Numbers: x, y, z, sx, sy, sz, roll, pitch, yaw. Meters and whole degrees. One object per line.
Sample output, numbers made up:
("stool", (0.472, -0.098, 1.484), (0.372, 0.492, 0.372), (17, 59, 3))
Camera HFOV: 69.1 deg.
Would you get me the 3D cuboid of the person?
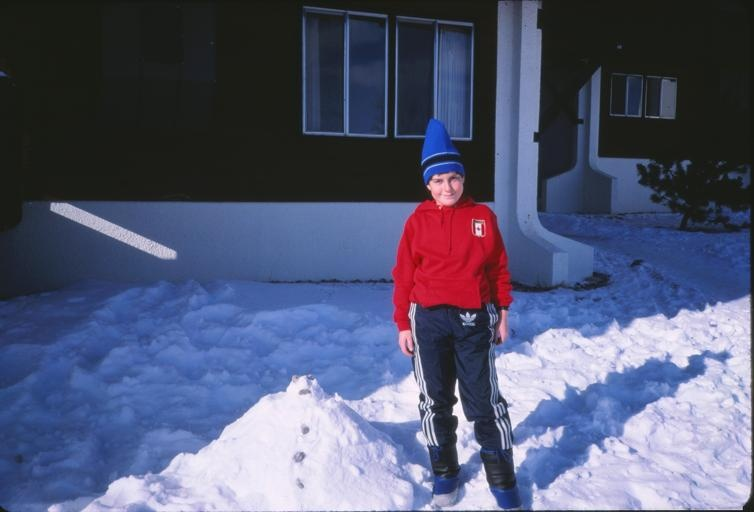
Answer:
("person", (0.680, 0.497, 4.683), (1.123, 3.187, 0.592), (3, 9, 16))
